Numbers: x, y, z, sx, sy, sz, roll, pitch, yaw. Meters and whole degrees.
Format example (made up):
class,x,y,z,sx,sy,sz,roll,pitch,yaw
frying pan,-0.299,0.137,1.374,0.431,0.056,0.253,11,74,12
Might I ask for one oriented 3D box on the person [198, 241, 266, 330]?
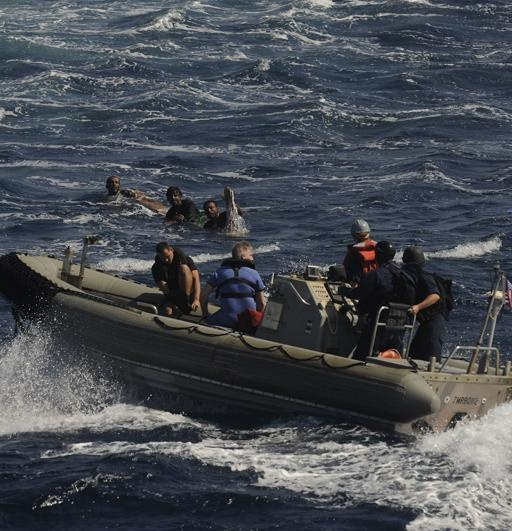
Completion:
class,x,y,z,sx,sy,sz,roll,pitch,yaw
person,-0.236,0.284,16.719,1.107,1.055,1.021,5,-1,-36

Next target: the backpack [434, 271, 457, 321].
class,x,y,z,sx,sy,sz,roll,pitch,yaw
backpack,2.401,0.421,15.759,0.251,0.504,0.556,-5,3,-2

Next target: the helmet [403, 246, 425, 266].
class,x,y,z,sx,sy,sz,roll,pitch,yaw
helmet,1.975,-0.119,15.604,0.248,0.222,0.271,2,17,6

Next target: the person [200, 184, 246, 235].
class,x,y,z,sx,sy,sz,roll,pitch,yaw
person,-0.606,-1.022,23.244,0.552,0.759,1.276,3,3,-21

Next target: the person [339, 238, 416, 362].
class,x,y,z,sx,sy,sz,roll,pitch,yaw
person,1.567,0.449,15.544,0.615,1.511,0.696,4,8,-36

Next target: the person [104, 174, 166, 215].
class,x,y,z,sx,sy,sz,roll,pitch,yaw
person,-2.426,-1.329,25.107,1.678,0.627,0.399,7,24,7

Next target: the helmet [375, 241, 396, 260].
class,x,y,z,sx,sy,sz,roll,pitch,yaw
helmet,1.578,-0.166,15.491,0.247,0.223,0.252,6,-12,-6

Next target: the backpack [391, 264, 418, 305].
class,x,y,z,sx,sy,sz,roll,pitch,yaw
backpack,1.813,0.252,15.408,0.357,0.469,0.295,9,7,5

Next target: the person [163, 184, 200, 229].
class,x,y,z,sx,sy,sz,roll,pitch,yaw
person,-1.414,-1.136,23.848,0.687,0.713,0.603,7,6,-4
